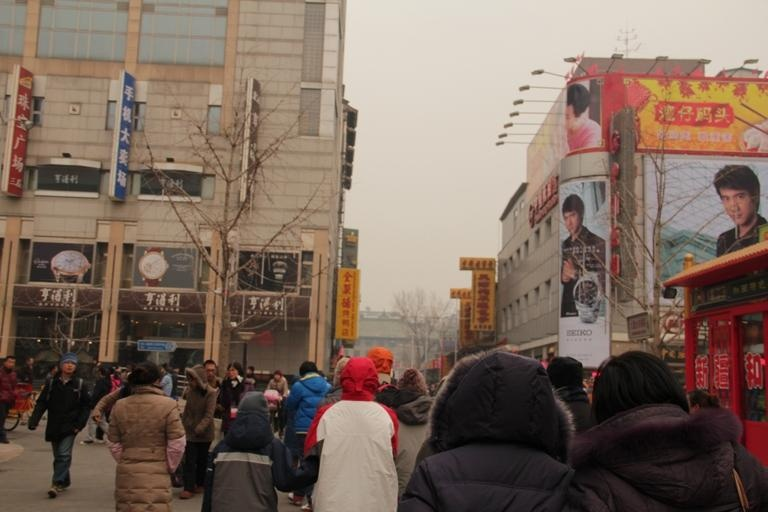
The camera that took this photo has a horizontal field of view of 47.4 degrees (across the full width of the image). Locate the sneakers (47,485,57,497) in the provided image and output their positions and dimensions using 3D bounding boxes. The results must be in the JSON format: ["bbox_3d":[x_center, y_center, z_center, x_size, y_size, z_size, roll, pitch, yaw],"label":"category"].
[{"bbox_3d":[-8.334,5.932,21.972,0.130,0.152,0.346,1,-38,-15],"label":"sneakers"}]

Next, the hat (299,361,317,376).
[{"bbox_3d":[-1.910,2.850,22.167,0.334,0.390,0.437,0,-16,-6],"label":"hat"}]

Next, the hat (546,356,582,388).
[{"bbox_3d":[3.692,2.418,18.056,0.770,0.713,0.579,-3,-8,20],"label":"hat"}]

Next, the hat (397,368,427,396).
[{"bbox_3d":[0.627,2.717,18.813,0.578,0.629,0.568,2,-7,-3],"label":"hat"}]
